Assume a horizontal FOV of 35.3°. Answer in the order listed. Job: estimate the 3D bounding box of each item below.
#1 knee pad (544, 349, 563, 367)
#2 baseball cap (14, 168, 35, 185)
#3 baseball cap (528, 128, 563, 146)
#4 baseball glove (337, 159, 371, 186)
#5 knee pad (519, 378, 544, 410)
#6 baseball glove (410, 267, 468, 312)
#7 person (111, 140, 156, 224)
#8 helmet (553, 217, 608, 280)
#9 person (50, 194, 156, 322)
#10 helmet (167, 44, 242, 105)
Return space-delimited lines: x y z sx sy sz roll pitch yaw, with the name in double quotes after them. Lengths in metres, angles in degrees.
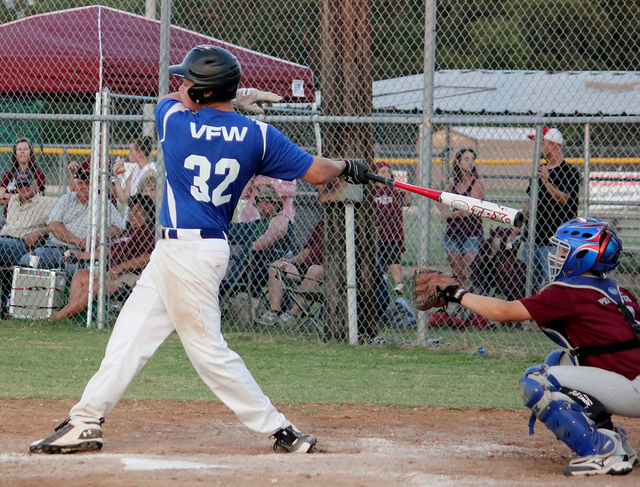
1.689 0.839 7.333 0.120 0.138 0.101 12 -2 38 "knee pad"
-3.162 -0.715 10.773 0.205 0.142 0.322 -1 11 -14 "baseball cap"
2.307 -1.088 10.179 0.247 0.139 0.159 24 1 0 "baseball cap"
0.216 -0.537 7.403 0.216 0.104 0.217 2 1 -36 "baseball glove"
1.457 1.052 6.974 0.199 0.226 0.067 9 13 38 "knee pad"
0.833 0.341 7.044 0.461 0.205 0.280 11 45 40 "baseball glove"
-2.124 -0.448 11.280 0.508 1.447 0.383 2 16 -14 "person"
1.819 -0.001 7.035 0.273 0.433 0.342 -4 14 -24 "helmet"
-2.305 0.208 10.427 1.197 1.527 0.614 -1 18 -38 "person"
-0.802 -1.171 7.014 0.488 0.401 0.218 2 10 3 "helmet"
